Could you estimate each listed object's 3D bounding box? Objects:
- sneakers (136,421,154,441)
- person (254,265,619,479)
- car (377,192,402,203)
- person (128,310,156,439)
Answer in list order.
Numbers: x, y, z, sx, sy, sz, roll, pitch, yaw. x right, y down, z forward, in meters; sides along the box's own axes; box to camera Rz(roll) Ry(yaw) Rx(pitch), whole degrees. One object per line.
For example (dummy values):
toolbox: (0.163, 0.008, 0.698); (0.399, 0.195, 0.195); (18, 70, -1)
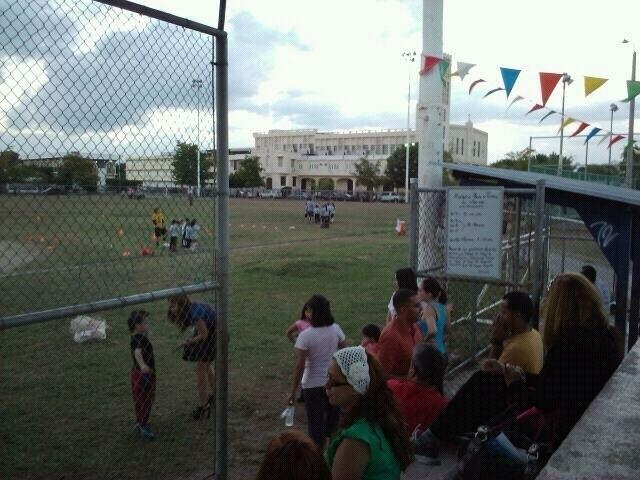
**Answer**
sneakers: (-2.002, 2.184, 7.093); (0.251, 0.148, 0.100); (3, 3, 16)
person: (1.963, 1.153, 5.756); (2.295, 1.609, 0.665); (-1, 7, -34)
car: (9.347, -5.462, 81.938); (2.507, 1.675, 1.749); (5, 7, 12)
person: (-2.065, 1.497, 7.186); (0.293, 1.423, 0.565); (1, 6, -16)
